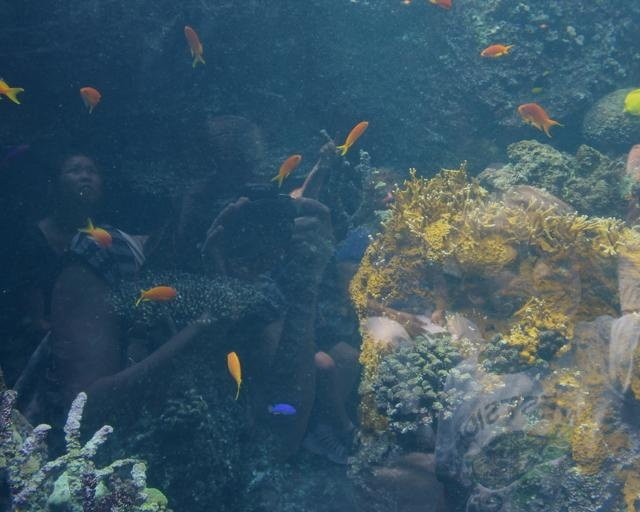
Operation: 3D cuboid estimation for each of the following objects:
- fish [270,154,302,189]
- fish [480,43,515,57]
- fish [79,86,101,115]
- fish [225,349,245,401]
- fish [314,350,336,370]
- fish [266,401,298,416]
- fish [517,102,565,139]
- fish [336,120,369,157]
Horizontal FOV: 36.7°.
[{"bbox_3d":[-0.205,-0.578,6.561,0.184,0.217,0.102,12,3,-44],"label":"fish"},{"bbox_3d":[1.289,-1.515,7.095,0.231,0.039,0.104,-16,12,-39],"label":"fish"},{"bbox_3d":[-1.492,-1.013,6.263,0.141,0.157,0.067,13,2,-15],"label":"fish"},{"bbox_3d":[-0.583,0.818,6.467,0.150,0.311,0.095,13,2,-4],"label":"fish"},{"bbox_3d":[0.028,0.729,6.601,0.147,0.120,0.034,14,2,-3],"label":"fish"},{"bbox_3d":[-0.253,1.054,6.543,0.195,0.086,0.012,14,2,-9],"label":"fish"},{"bbox_3d":[1.628,-1.016,7.182,0.381,0.189,0.087,32,-1,-7],"label":"fish"},{"bbox_3d":[0.212,-0.822,6.784,0.126,0.310,0.053,-9,60,-53],"label":"fish"}]
